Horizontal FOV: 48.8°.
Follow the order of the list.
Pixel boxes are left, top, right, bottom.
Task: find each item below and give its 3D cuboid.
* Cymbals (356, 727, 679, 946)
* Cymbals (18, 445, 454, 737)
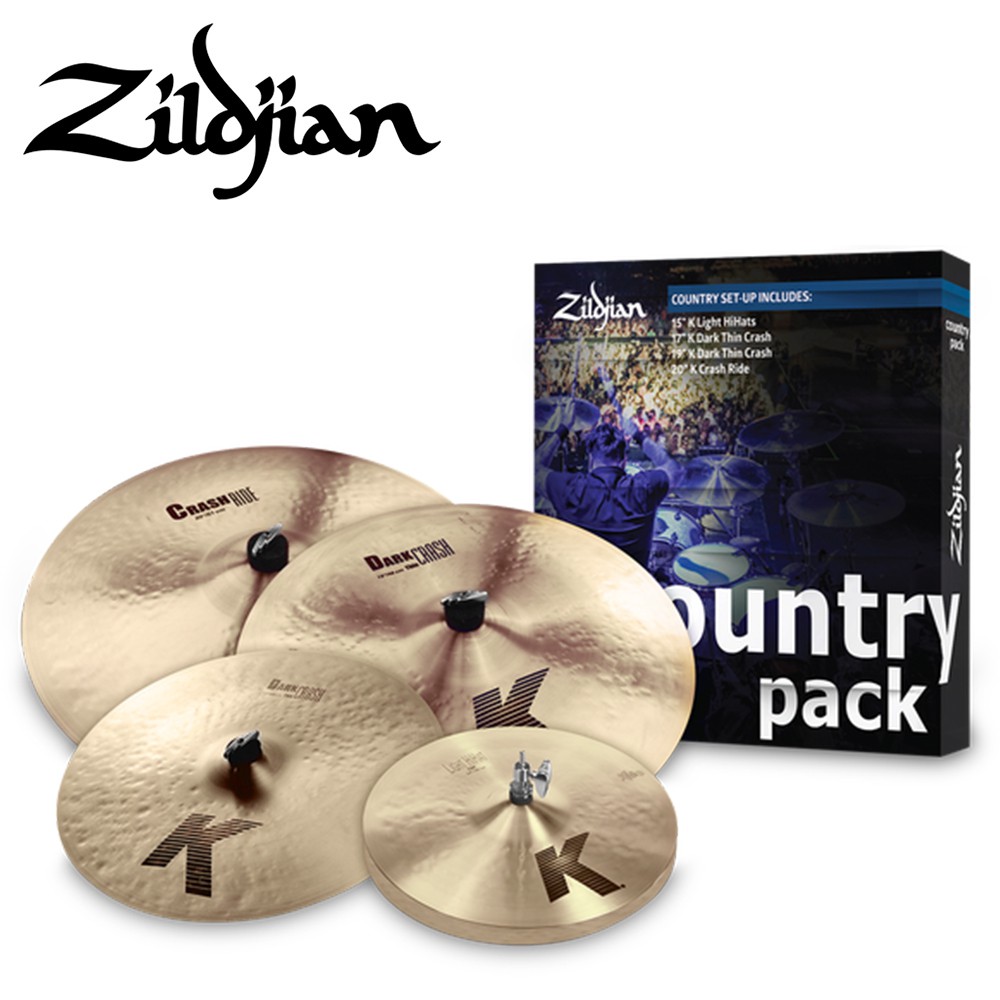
[{"bbox_3d":[0.046,0.711,2.419,0.617,0.292,0.612,1,6,26],"label":"Cymbals"},{"bbox_3d":[-0.786,0.236,3.440,0.205,1.029,0.988,-11,45,34],"label":"Cymbals"}]
